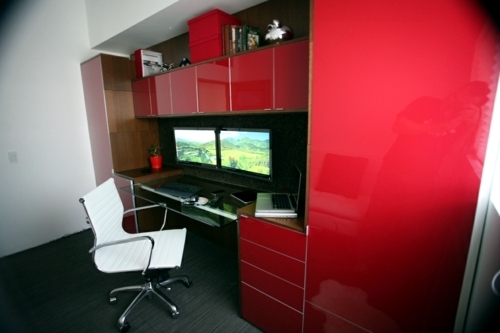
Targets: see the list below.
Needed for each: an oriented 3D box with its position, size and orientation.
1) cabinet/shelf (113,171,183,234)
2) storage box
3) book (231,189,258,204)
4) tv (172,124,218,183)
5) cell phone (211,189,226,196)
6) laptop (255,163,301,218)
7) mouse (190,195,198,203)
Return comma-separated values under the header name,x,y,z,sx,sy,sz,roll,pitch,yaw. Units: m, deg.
name,x,y,z,sx,sy,sz,roll,pitch,yaw
cabinet/shelf,-1.209,0.394,3.933,0.529,0.916,0.492,11,24,29
storage box,-0.330,-1.296,3.552,0.520,0.481,0.520,8,13,40
book,-0.043,0.293,3.284,0.154,0.016,0.136,-15,27,-41
tv,-0.638,-0.230,3.963,0.052,0.503,0.827,-13,19,-43
cell phone,-0.331,0.268,3.489,0.131,0.006,0.238,5,14,16
laptop,0.233,0.149,2.894,0.368,0.406,0.504,3,18,5
mouse,-0.539,0.310,3.302,0.051,0.083,0.092,1,5,18
